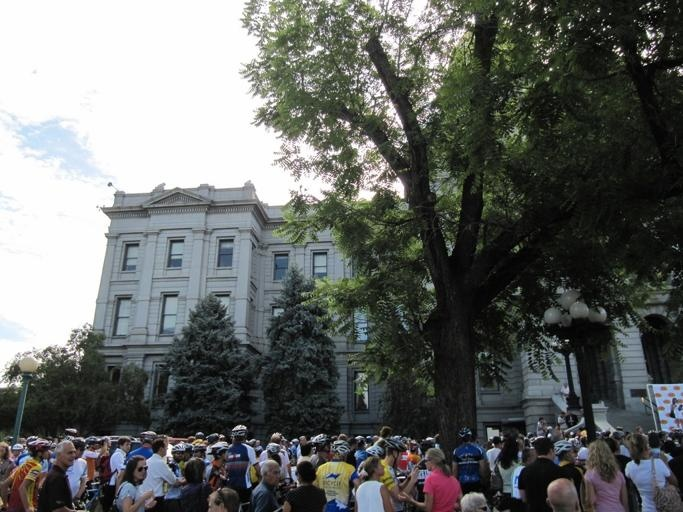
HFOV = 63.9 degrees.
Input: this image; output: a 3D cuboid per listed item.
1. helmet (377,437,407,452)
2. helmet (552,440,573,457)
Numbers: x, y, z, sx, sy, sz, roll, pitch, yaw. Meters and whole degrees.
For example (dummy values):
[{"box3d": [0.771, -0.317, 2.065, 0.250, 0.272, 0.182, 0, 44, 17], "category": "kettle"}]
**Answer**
[{"box3d": [0.942, 3.441, 9.946, 0.605, 0.205, 0.410, 9, -28, 1], "category": "helmet"}, {"box3d": [3.659, 3.226, 9.129, 0.277, 0.233, 0.383, -9, -23, 17], "category": "helmet"}]
